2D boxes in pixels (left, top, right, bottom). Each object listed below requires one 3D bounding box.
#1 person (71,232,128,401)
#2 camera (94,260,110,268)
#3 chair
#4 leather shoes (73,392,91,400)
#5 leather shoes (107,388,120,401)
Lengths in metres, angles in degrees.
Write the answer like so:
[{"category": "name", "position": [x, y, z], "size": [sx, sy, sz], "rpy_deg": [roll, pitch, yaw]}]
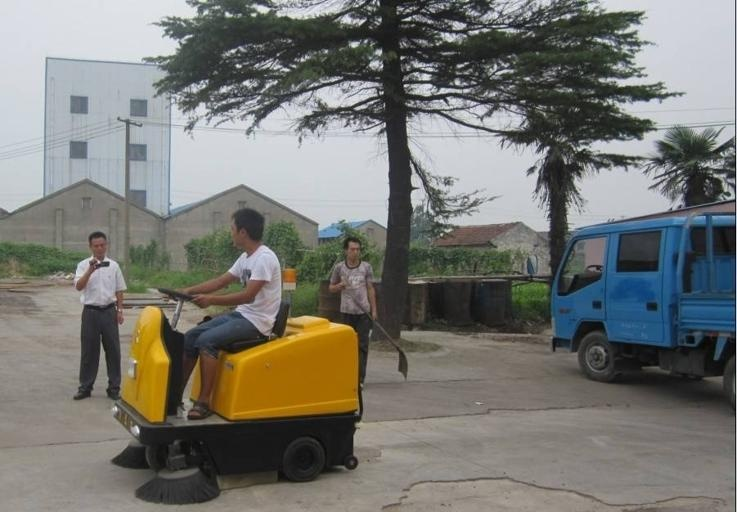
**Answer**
[{"category": "person", "position": [-4.591, 1.009, 14.289], "size": [0.844, 2.751, 1.051], "rpy_deg": [-1, 9, -16]}, {"category": "camera", "position": [-4.478, 0.161, 14.163], "size": [0.231, 0.110, 0.111], "rpy_deg": [-3, 10, -30]}, {"category": "chair", "position": [-1.568, 1.008, 11.489], "size": [0.900, 0.664, 0.548], "rpy_deg": [3, -7, -18]}, {"category": "leather shoes", "position": [-4.799, 2.348, 14.061], "size": [0.102, 0.136, 0.306], "rpy_deg": [-10, -20, 38]}, {"category": "leather shoes", "position": [-4.304, 2.336, 14.147], "size": [0.168, 0.202, 0.477], "rpy_deg": [3, -9, -32]}]
